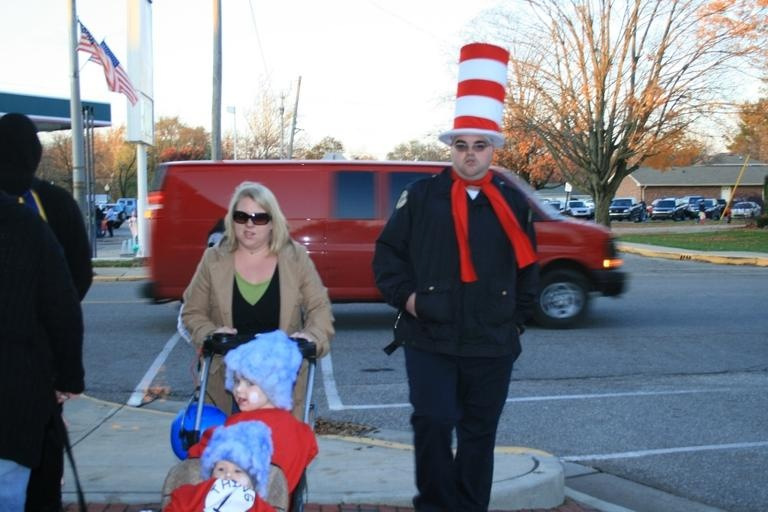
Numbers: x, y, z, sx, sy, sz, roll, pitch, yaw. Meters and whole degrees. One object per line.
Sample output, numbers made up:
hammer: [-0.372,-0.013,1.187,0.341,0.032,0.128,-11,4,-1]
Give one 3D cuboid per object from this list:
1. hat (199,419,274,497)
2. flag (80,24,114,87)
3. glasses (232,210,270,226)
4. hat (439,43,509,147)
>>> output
hat: [-0.903,1.200,4.655,0.385,0.397,0.452,1,-9,-17]
flag: [-7.108,-5.039,19.111,0.735,1.484,1.747,-1,8,-20]
glasses: [-0.958,-0.279,5.660,0.279,0.101,0.091,0,8,-13]
hat: [0.633,-1.148,5.503,0.458,0.722,0.336,2,8,3]
